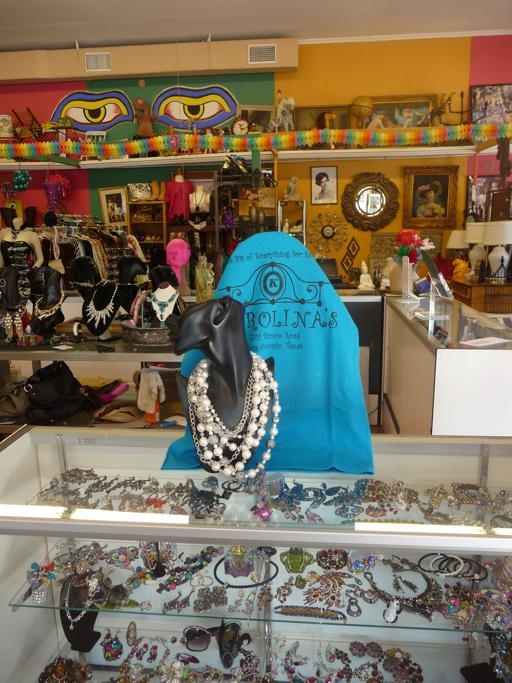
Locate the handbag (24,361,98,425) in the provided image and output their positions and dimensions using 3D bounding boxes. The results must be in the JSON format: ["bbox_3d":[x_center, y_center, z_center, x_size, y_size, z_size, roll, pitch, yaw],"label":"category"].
[{"bbox_3d":[-1.188,0.286,3.047,0.343,0.153,0.412,-1,8,-18],"label":"handbag"}]

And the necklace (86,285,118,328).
[{"bbox_3d":[-0.963,-0.227,3.138,0.241,0.174,0.106,26,8,11],"label":"necklace"}]

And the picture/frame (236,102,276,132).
[{"bbox_3d":[0.004,-2.635,5.923,0.590,0.437,0.045,0,10,-2],"label":"picture/frame"}]

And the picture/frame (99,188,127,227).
[{"bbox_3d":[-1.765,-1.691,6.318,0.470,0.465,0.129,5,14,38],"label":"picture/frame"}]

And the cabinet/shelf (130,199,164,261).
[{"bbox_3d":[-1.297,-1.321,6.137,0.416,0.771,0.198,0,27,-2],"label":"cabinet/shelf"}]

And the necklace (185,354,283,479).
[{"bbox_3d":[-0.053,0.158,1.146,0.217,0.272,0.066,-3,-10,11],"label":"necklace"}]

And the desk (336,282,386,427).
[{"bbox_3d":[0.824,0.144,3.678,0.229,0.951,0.307,-9,12,-23],"label":"desk"}]

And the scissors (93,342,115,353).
[{"bbox_3d":[-0.874,0.032,2.899,0.064,0.027,0.087,-19,15,-35],"label":"scissors"}]

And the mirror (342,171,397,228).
[{"bbox_3d":[1.362,-1.715,5.983,0.761,0.720,0.047,0,14,8],"label":"mirror"}]

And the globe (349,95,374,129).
[{"bbox_3d":[1.149,-2.544,5.634,0.346,0.345,0.327,0,12,8],"label":"globe"}]

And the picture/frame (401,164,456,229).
[{"bbox_3d":[2.037,-1.732,5.892,0.817,0.879,0.099,1,10,7],"label":"picture/frame"}]

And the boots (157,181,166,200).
[{"bbox_3d":[-1.134,-1.815,6.070,0.104,0.208,0.174,-4,11,-1],"label":"boots"}]

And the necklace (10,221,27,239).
[{"bbox_3d":[-1.961,-0.917,4.140,0.135,0.166,0.095,-3,29,-24],"label":"necklace"}]

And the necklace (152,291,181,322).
[{"bbox_3d":[-0.522,-0.213,2.911,0.145,0.231,0.196,-6,11,-10],"label":"necklace"}]
